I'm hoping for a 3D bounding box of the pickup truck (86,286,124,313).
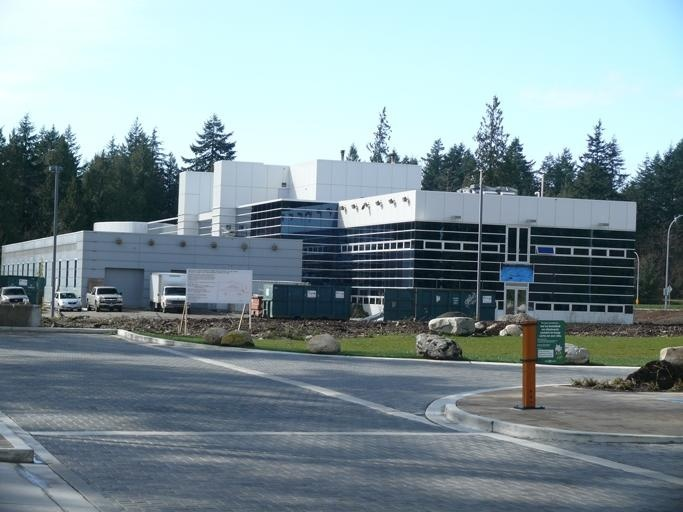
[{"bbox_3d":[-15.628,2.757,70.756,1.477,1.130,3.136,1,-6,-24],"label":"pickup truck"}]

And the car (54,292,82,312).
[{"bbox_3d":[-18.571,3.059,72.433,1.068,0.766,2.301,2,-6,-26],"label":"car"}]

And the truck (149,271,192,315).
[{"bbox_3d":[-10.527,2.401,70.103,2.795,2.715,5.398,1,-5,-20],"label":"truck"}]
